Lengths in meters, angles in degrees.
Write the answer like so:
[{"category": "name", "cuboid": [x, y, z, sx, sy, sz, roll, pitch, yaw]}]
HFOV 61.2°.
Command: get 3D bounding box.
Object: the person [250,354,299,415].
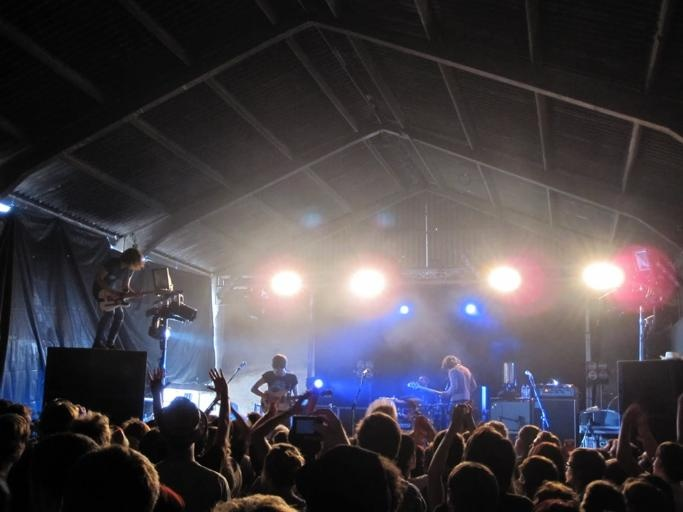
[{"category": "person", "cuboid": [-1.069, 2.192, 9.731, 0.847, 1.668, 0.450, 0, -63, -7]}]
